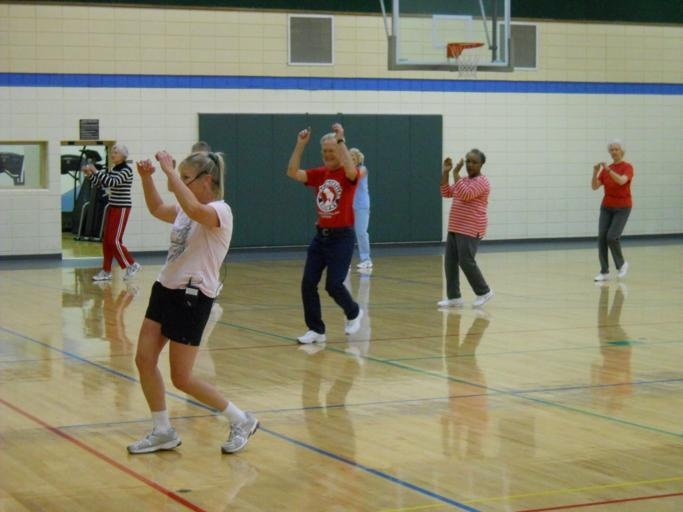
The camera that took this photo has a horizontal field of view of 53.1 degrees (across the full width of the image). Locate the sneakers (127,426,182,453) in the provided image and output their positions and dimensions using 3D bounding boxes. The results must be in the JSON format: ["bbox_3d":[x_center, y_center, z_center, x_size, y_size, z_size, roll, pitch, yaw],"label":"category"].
[{"bbox_3d":[-1.131,1.147,4.222,0.354,0.158,0.128,-3,4,-17],"label":"sneakers"}]

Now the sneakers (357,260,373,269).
[{"bbox_3d":[0.463,0.175,13.193,0.116,0.144,0.325,-3,-6,34],"label":"sneakers"}]

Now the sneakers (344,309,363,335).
[{"bbox_3d":[0.141,0.712,7.614,0.118,0.333,0.141,-1,-20,43],"label":"sneakers"}]

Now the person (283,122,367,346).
[{"bbox_3d":[-0.167,-0.217,7.071,0.762,2.234,0.963,0,6,0],"label":"person"}]

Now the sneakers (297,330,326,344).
[{"bbox_3d":[-0.289,0.842,7.154,0.324,0.136,0.116,5,-7,-33],"label":"sneakers"}]

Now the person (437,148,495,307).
[{"bbox_3d":[1.655,-0.356,9.074,0.716,2.094,1.074,1,6,11],"label":"person"}]

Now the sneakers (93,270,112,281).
[{"bbox_3d":[-4.069,0.344,11.579,0.336,0.230,0.166,5,0,9],"label":"sneakers"}]

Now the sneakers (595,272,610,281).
[{"bbox_3d":[4.387,0.355,11.539,0.367,0.157,0.122,5,-7,-44],"label":"sneakers"}]

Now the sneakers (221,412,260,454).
[{"bbox_3d":[-0.617,1.112,4.328,0.116,0.143,0.299,-47,3,47],"label":"sneakers"}]

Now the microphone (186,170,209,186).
[{"bbox_3d":[-0.873,-0.471,4.157,0.022,0.084,0.080,12,-5,16],"label":"microphone"}]

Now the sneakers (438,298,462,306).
[{"bbox_3d":[1.511,0.622,9.298,0.343,0.160,0.123,1,0,-6],"label":"sneakers"}]

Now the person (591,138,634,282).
[{"bbox_3d":[4.624,-0.760,11.703,0.625,2.290,1.405,2,7,22],"label":"person"}]

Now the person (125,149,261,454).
[{"bbox_3d":[-0.932,0.304,4.168,0.759,1.831,0.551,-1,6,-4],"label":"person"}]
